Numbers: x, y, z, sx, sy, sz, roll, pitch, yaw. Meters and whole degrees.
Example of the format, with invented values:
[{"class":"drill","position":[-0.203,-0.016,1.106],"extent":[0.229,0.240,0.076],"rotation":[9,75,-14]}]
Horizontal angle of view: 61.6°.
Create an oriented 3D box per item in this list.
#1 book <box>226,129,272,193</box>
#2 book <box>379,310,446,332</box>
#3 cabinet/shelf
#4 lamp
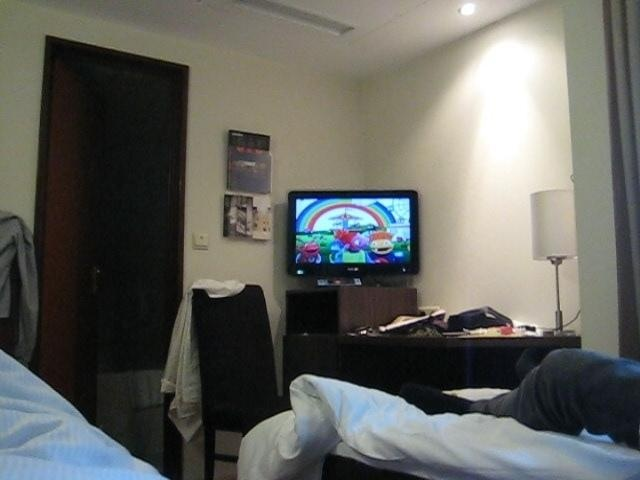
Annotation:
[{"class":"book","position":[-0.524,-0.556,3.862],"extent":[0.402,0.582,0.056],"rotation":[4,-8,-26]},{"class":"book","position":[0.559,0.499,3.344],"extent":[0.386,0.133,0.417],"rotation":[1,-4,4]},{"class":"cabinet/shelf","position":[0.130,0.597,3.684],"extent":[0.683,0.966,0.907],"rotation":[7,-11,-33]},{"class":"lamp","position":[1.318,0.156,2.995],"extent":[0.204,0.857,0.215],"rotation":[-1,20,25]}]
